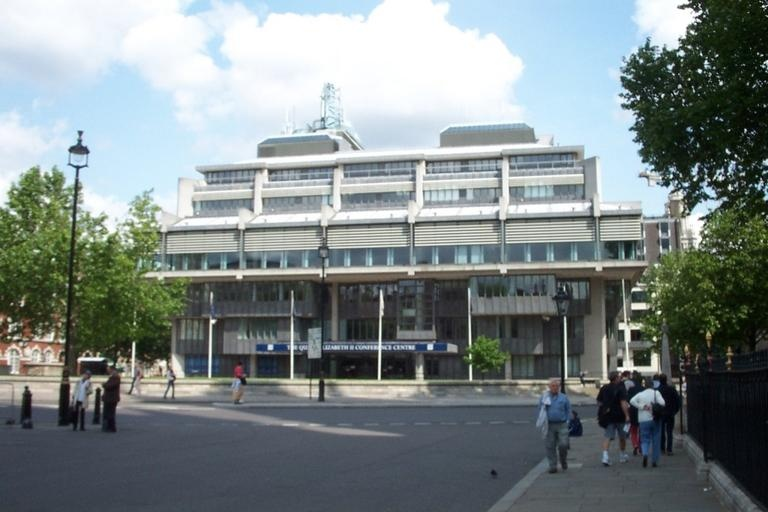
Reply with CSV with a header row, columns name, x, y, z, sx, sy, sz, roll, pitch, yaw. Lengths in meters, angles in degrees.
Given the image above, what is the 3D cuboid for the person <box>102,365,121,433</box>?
name,x,y,z,sx,sy,sz,roll,pitch,yaw
person,-11.839,6.094,46.147,0.663,2.832,1.279,2,-8,-15

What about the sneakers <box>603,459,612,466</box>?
name,x,y,z,sx,sy,sz,roll,pitch,yaw
sneakers,8.191,7.568,39.431,0.258,0.246,0.265,-2,-9,7

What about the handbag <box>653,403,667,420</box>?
name,x,y,z,sx,sy,sz,roll,pitch,yaw
handbag,10.269,5.747,39.960,0.654,0.720,0.342,2,13,39

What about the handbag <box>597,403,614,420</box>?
name,x,y,z,sx,sy,sz,roll,pitch,yaw
handbag,8.277,5.750,40.281,0.468,0.904,0.679,0,1,12
